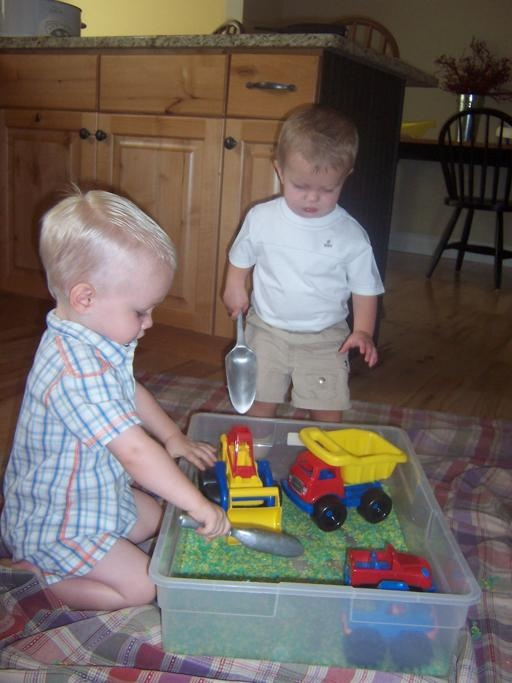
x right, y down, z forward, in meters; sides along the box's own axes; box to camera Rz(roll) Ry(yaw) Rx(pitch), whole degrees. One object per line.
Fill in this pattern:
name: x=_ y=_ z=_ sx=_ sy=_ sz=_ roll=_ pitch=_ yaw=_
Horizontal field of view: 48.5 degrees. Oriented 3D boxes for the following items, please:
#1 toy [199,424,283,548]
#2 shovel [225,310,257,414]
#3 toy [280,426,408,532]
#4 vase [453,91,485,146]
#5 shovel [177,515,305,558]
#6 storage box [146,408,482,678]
toy: x=-0.037 y=0.223 z=0.894 sx=0.107 sy=0.100 sz=0.166 roll=1 pitch=24 yaw=-14
shovel: x=-0.027 y=0.009 z=1.178 sx=0.070 sy=0.295 sz=0.031 roll=-3 pitch=-30 yaw=3
toy: x=0.140 y=0.223 z=0.921 sx=0.209 sy=0.140 sz=0.140 roll=-7 pitch=16 yaw=-20
vase: x=1.282 y=-1.363 z=3.403 sx=0.183 sy=0.289 sz=0.172 roll=4 pitch=16 yaw=2
shovel: x=-0.027 y=0.271 z=0.787 sx=0.211 sy=0.046 sz=0.041 roll=18 pitch=41 yaw=-33
storage box: x=0.097 y=0.274 z=0.853 sx=0.434 sy=0.164 sz=0.476 roll=2 pitch=16 yaw=-1
